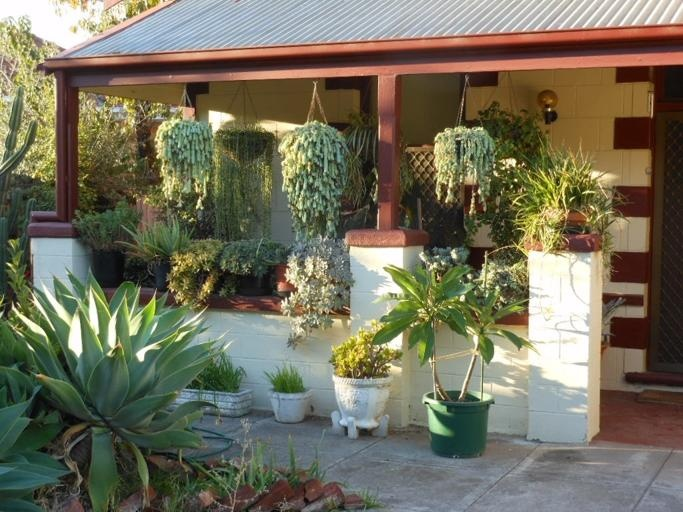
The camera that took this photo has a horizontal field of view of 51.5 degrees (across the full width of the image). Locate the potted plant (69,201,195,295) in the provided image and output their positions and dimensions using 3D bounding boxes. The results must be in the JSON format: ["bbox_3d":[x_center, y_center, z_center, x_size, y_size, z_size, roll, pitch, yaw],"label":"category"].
[{"bbox_3d":[-2.055,-0.110,6.950,0.733,0.798,0.953,1,3,-8],"label":"potted plant"}]

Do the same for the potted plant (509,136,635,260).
[{"bbox_3d":[1.866,-0.407,5.839,0.856,0.887,1.046,0,1,9],"label":"potted plant"}]
